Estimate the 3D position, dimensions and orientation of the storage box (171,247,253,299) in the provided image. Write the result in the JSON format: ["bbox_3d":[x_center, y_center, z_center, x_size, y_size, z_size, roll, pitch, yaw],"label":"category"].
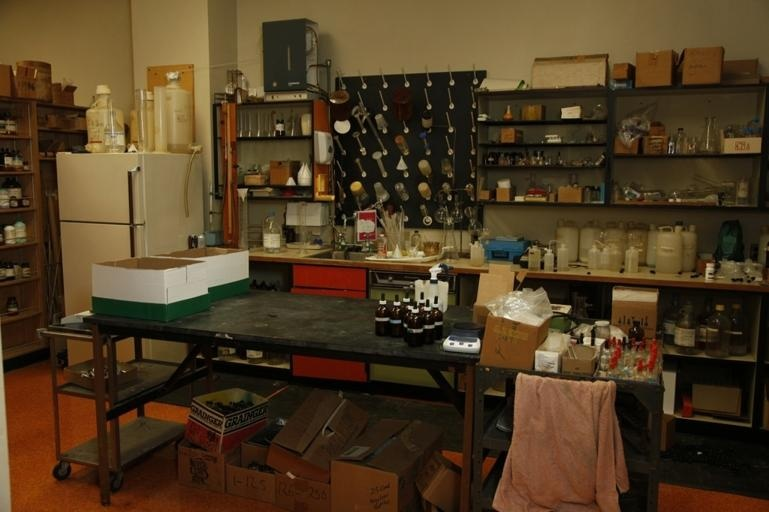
[{"bbox_3d":[-1.324,0.169,5.044,0.564,0.265,0.571,-5,6,8],"label":"storage box"}]

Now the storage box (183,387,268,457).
[{"bbox_3d":[-1.198,1.248,4.799,0.430,0.265,0.567,13,7,20],"label":"storage box"}]

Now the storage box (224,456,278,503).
[{"bbox_3d":[-0.962,1.651,4.508,0.289,0.131,0.294,4,2,16],"label":"storage box"}]

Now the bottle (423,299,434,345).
[{"bbox_3d":[0.291,0.434,4.072,0.068,0.262,0.089,1,7,2],"label":"bottle"}]

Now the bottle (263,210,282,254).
[{"bbox_3d":[-1.211,-0.260,6.758,0.214,0.367,0.597,0,7,-10],"label":"bottle"}]

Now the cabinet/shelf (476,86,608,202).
[{"bbox_3d":[1.565,-1.091,6.038,1.184,0.997,0.419,0,1,16],"label":"cabinet/shelf"}]

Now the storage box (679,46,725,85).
[{"bbox_3d":[2.772,-1.647,5.426,0.367,0.336,0.125,3,7,23],"label":"storage box"}]

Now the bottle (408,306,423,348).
[{"bbox_3d":[0.207,0.460,4.031,0.094,0.232,0.128,7,9,38],"label":"bottle"}]

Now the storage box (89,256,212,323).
[{"bbox_3d":[-1.742,0.239,4.640,0.764,0.369,0.563,3,6,29],"label":"storage box"}]

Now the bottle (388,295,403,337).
[{"bbox_3d":[0.080,0.401,4.204,0.091,0.257,0.152,1,7,0],"label":"bottle"}]

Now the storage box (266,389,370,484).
[{"bbox_3d":[-0.466,1.267,4.488,0.452,0.203,0.621,14,28,21],"label":"storage box"}]

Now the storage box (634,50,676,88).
[{"bbox_3d":[2.399,-1.636,5.569,0.338,0.337,0.336,2,0,29],"label":"storage box"}]

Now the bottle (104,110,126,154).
[{"bbox_3d":[-2.700,-1.262,6.295,0.190,0.441,0.239,-5,9,-39],"label":"bottle"}]

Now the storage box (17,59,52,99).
[{"bbox_3d":[-3.706,-1.840,6.573,0.338,0.343,0.355,19,18,39],"label":"storage box"}]

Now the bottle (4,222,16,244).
[{"bbox_3d":[-3.918,-0.223,6.524,0.118,0.186,0.099,-2,8,-23],"label":"bottle"}]

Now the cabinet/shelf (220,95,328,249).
[{"bbox_3d":[-1.196,-0.887,6.734,1.323,1.571,0.629,1,7,-1],"label":"cabinet/shelf"}]

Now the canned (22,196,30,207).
[{"bbox_3d":[-3.788,-0.569,6.603,0.070,0.089,0.094,-2,2,-24],"label":"canned"}]

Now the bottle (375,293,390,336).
[{"bbox_3d":[-0.008,0.399,4.245,0.095,0.251,0.220,1,7,-1],"label":"bottle"}]

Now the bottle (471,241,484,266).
[{"bbox_3d":[0.896,-0.022,5.947,0.122,0.199,0.265,3,7,12],"label":"bottle"}]

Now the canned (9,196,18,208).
[{"bbox_3d":[-3.858,-0.552,6.518,0.096,0.129,0.108,3,11,-2],"label":"canned"}]

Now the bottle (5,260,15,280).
[{"bbox_3d":[-3.976,0.158,6.616,0.099,0.174,0.046,-5,10,-41],"label":"bottle"}]

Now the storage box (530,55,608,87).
[{"bbox_3d":[1.732,-1.708,5.792,0.701,0.328,0.193,2,7,8],"label":"storage box"}]

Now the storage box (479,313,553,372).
[{"bbox_3d":[0.825,0.535,3.830,0.342,0.213,0.345,5,6,34],"label":"storage box"}]

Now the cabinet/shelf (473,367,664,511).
[{"bbox_3d":[1.196,0.979,4.164,1.193,1.138,0.916,2,5,15],"label":"cabinet/shelf"}]
